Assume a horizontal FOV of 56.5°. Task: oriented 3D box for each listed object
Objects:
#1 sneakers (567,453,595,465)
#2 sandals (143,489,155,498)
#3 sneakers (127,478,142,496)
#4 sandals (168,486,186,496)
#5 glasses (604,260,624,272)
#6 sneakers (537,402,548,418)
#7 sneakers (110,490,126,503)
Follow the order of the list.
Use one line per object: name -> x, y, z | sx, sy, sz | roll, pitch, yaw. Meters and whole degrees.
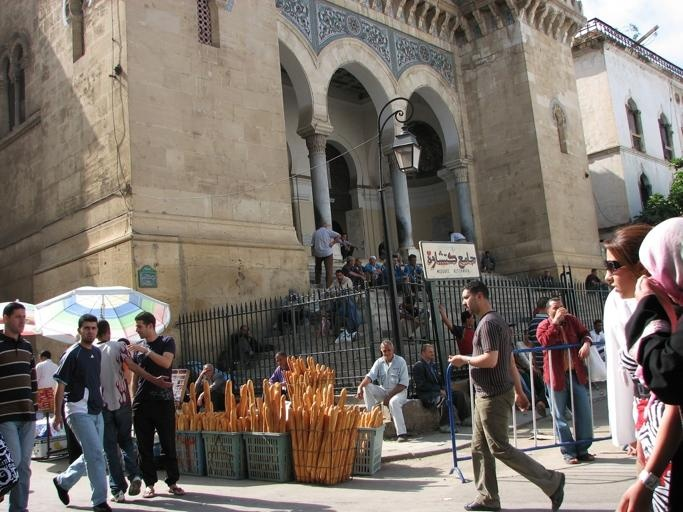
sneakers -> 2.713, 2.315, 7.265 | 0.381, 0.173, 0.120 | 11, -15, -23
sandals -> -2.188, 2.707, 7.241 | 0.095, 0.095, 0.190 | 1, -17, -4
sneakers -> -2.314, 2.614, 7.114 | 0.108, 0.245, 0.107 | 5, 9, -36
sandals -> -1.841, 2.648, 7.193 | 0.152, 0.068, 0.087 | 1, -2, 20
glasses -> 1.780, 0.060, 4.196 | 0.058, 0.082, 0.167 | -4, -6, -2
sneakers -> 3.327, 2.560, 10.600 | 0.080, 0.252, 0.105 | -17, 9, 4
sneakers -> -2.483, 2.689, 7.118 | 0.161, 0.118, 0.090 | 2, -5, 18
